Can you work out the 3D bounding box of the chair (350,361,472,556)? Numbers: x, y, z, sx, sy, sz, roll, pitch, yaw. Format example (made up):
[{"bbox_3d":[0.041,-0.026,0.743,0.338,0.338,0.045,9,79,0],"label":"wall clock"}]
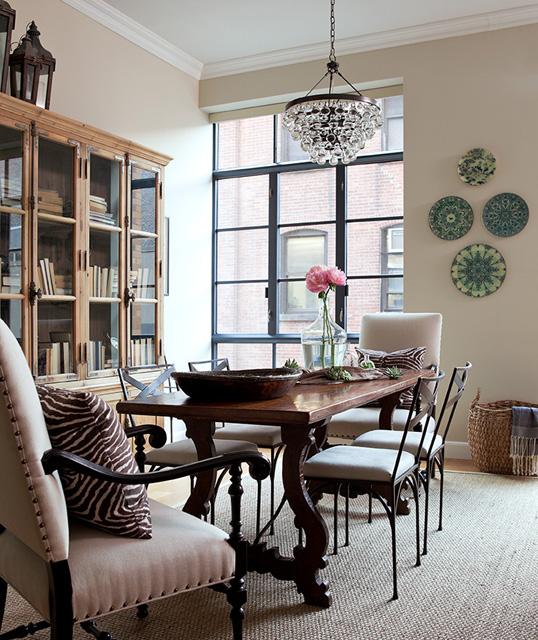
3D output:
[{"bbox_3d":[0.475,0.598,2.450,0.391,0.721,0.493,-2,9,42],"label":"chair"}]

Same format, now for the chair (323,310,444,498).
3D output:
[{"bbox_3d":[0.704,0.381,3.614,0.732,0.831,0.554,-11,6,-40],"label":"chair"}]

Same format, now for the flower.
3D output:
[{"bbox_3d":[0.272,-0.011,2.846,0.213,0.509,0.454,0,-2,-2],"label":"flower"}]

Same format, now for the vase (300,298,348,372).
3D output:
[{"bbox_3d":[0.270,0.070,2.939,0.242,0.363,0.233,8,20,32],"label":"vase"}]

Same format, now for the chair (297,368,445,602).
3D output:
[{"bbox_3d":[0.373,0.598,2.185,0.476,0.712,0.413,-2,-5,27],"label":"chair"}]

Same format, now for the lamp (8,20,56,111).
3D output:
[{"bbox_3d":[-1.330,-1.395,3.241,0.221,0.538,0.296,0,-2,-14],"label":"lamp"}]

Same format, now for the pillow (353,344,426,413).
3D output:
[{"bbox_3d":[0.591,0.291,2.859,0.371,0.344,0.134,1,-11,19],"label":"pillow"}]
